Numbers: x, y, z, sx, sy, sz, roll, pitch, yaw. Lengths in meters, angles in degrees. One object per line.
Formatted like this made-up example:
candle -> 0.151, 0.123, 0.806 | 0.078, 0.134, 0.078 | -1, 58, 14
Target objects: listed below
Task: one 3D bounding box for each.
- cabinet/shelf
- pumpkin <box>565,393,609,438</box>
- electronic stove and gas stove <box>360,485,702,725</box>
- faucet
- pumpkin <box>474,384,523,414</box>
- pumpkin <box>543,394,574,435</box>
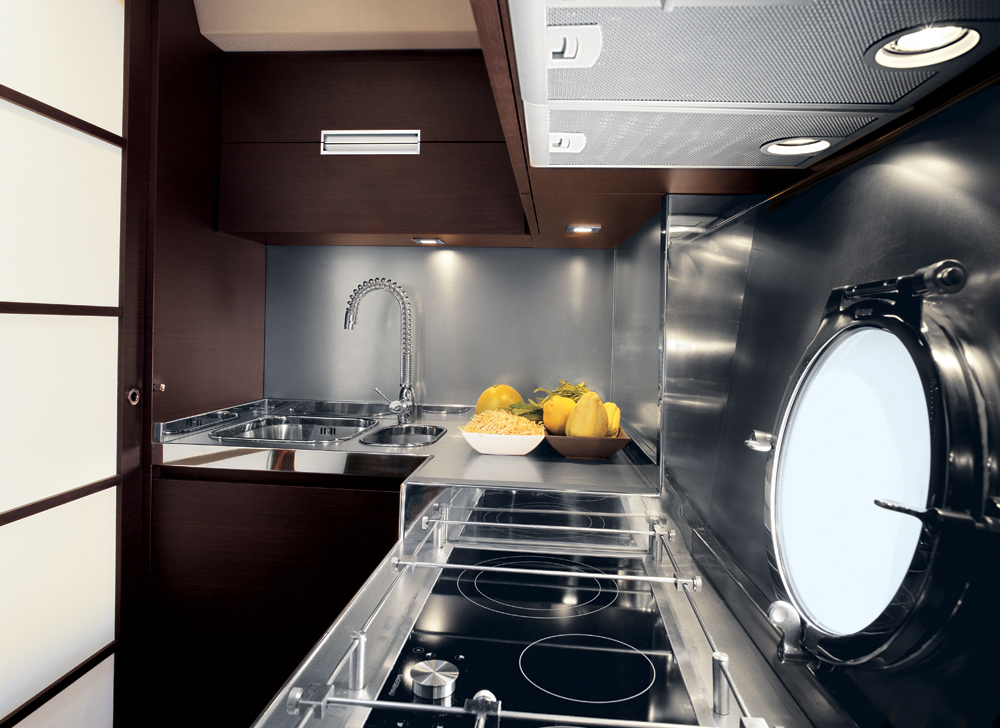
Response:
cabinet/shelf -> -0.478, -0.562, 2.333 | 0.942, 0.520, 0.499 | -8, -14, -20
pumpkin -> 0.236, 0.143, 1.839 | 0.119, 0.127, 0.095 | 0, 13, 7
electronic stove and gas stove -> 0.086, 0.378, 1.186 | 0.427, 0.113, 0.718 | 0, 12, 8
faucet -> -0.413, -0.049, 2.381 | 0.259, 0.495, 0.375 | -4, 13, -10
pumpkin -> 0.003, 0.107, 2.117 | 0.108, 0.099, 0.105 | -12, 14, -1
pumpkin -> 0.164, 0.143, 1.912 | 0.105, 0.111, 0.095 | -4, 0, 40
